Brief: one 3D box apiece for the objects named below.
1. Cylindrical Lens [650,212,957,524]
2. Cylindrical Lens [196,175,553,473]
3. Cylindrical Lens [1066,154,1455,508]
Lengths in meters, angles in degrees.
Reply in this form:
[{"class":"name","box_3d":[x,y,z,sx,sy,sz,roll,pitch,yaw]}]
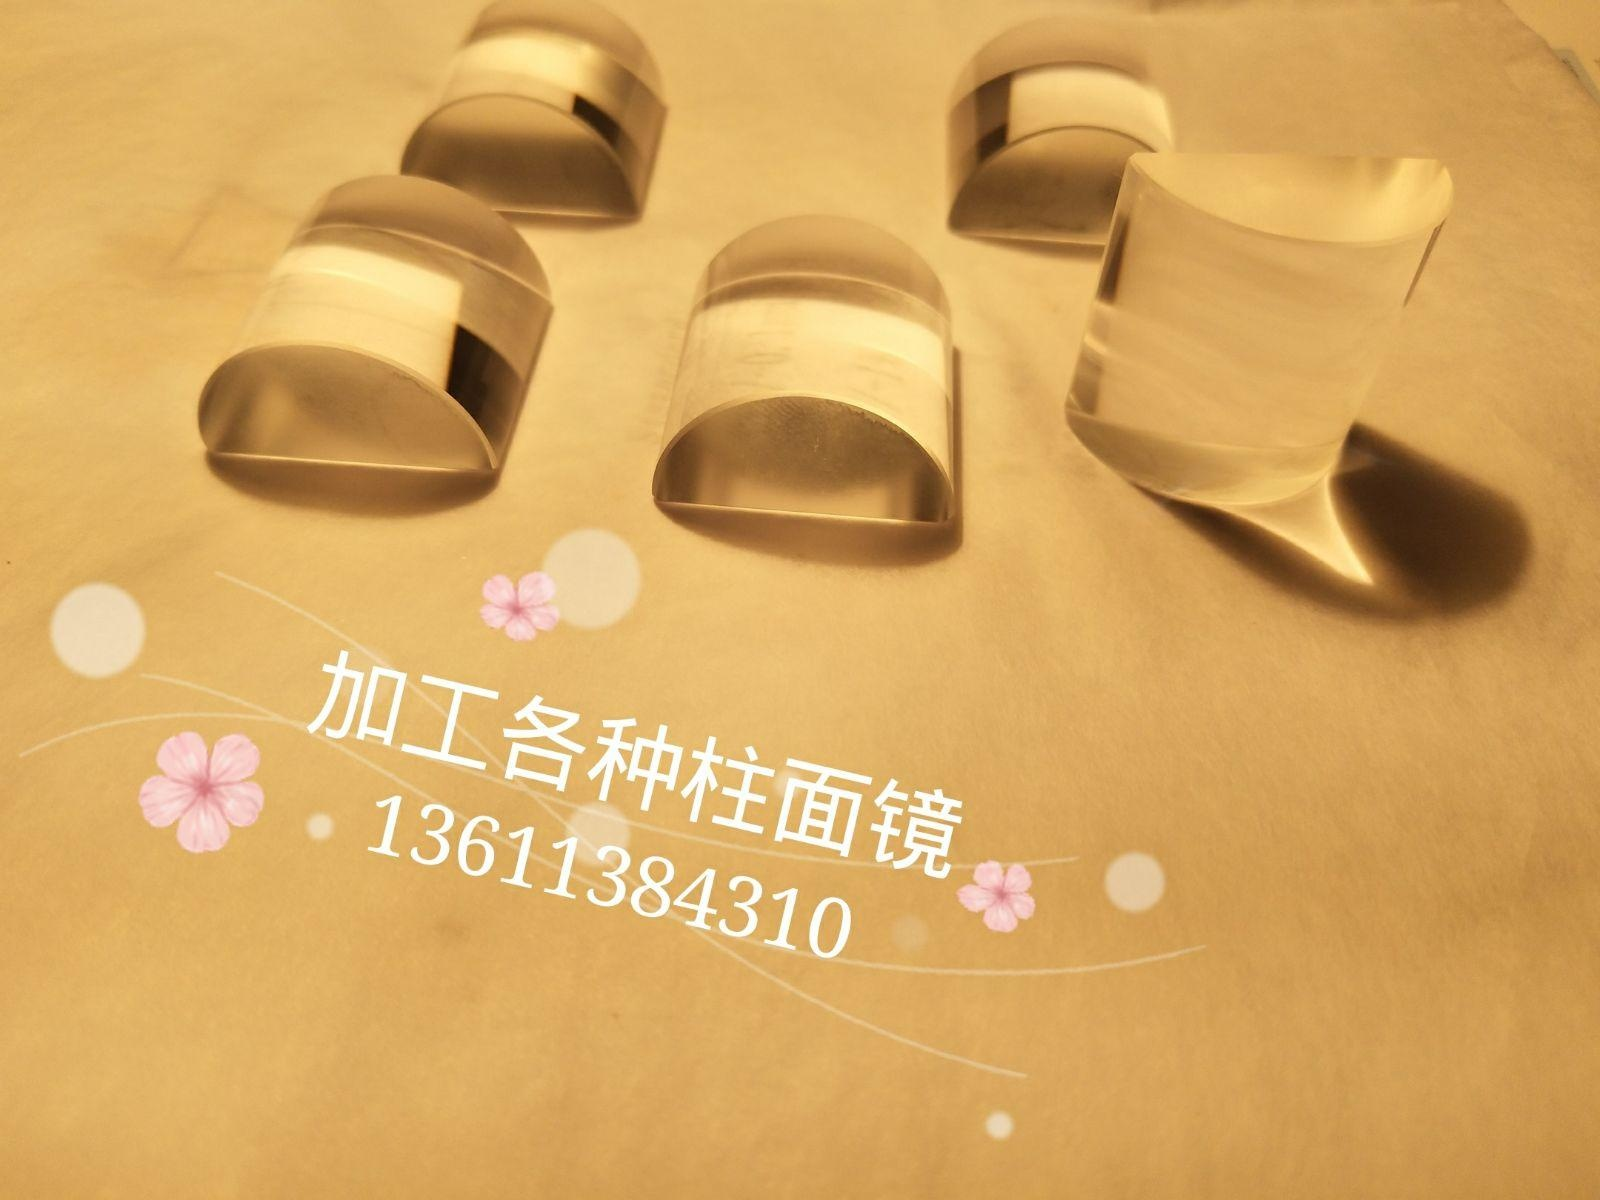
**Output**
[{"class":"Cylindrical Lens","box_3d":[0.011,-0.149,0.983,0.265,0.106,0.189,3,60,2]},{"class":"Cylindrical Lens","box_3d":[-0.285,-0.173,1.017,0.257,0.131,0.204,14,54,0]},{"class":"Cylindrical Lens","box_3d":[0.306,-0.163,0.993,0.199,0.193,0.257,22,18,39]}]
